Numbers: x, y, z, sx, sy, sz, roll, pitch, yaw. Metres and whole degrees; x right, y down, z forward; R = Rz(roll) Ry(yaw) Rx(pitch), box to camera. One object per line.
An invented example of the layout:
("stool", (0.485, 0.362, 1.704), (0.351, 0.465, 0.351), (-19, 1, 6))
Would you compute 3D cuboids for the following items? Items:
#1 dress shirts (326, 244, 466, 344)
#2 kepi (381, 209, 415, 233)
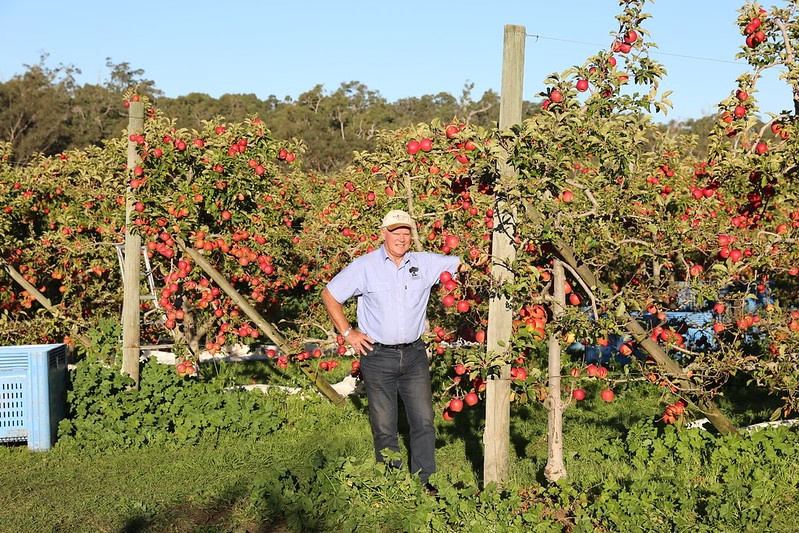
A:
("dress shirts", (-0.037, 0.360, 8.921), (1.644, 1.048, 0.457), (-1, 7, -27))
("kepi", (-0.033, -0.498, 8.689), (0.292, 0.233, 0.120), (0, -4, -1))
